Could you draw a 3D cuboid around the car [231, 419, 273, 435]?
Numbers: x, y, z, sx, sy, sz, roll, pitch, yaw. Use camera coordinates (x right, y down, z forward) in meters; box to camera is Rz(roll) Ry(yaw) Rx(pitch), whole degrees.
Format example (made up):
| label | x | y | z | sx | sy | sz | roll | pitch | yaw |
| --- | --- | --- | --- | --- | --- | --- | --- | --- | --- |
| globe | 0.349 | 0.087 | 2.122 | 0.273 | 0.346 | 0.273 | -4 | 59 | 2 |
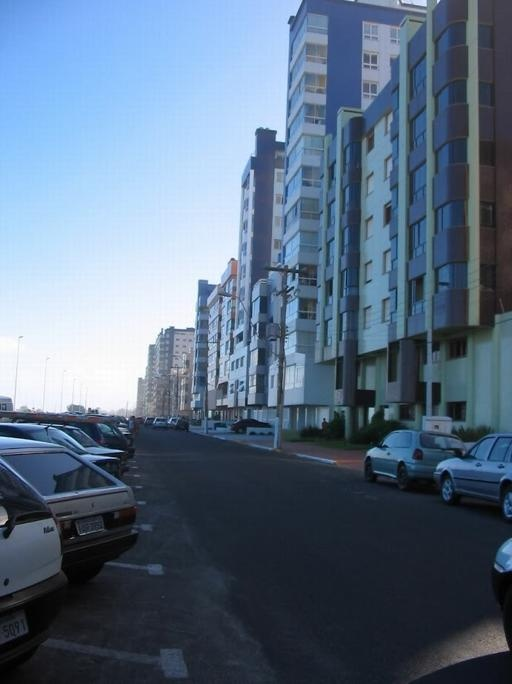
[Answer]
| label | x | y | z | sx | sy | sz | roll | pitch | yaw |
| --- | --- | --- | --- | --- | --- | --- | --- | --- | --- |
| car | -0.417 | 9.707 | 62.285 | 3.468 | 1.680 | 5.159 | 5 | -10 | -35 |
